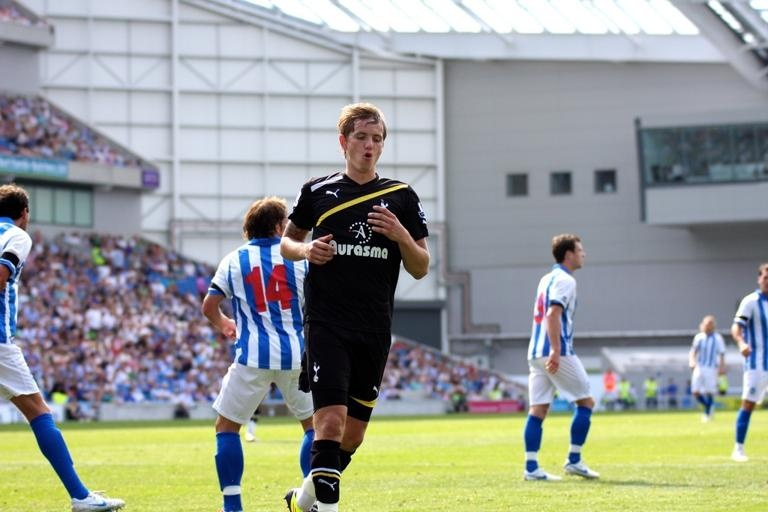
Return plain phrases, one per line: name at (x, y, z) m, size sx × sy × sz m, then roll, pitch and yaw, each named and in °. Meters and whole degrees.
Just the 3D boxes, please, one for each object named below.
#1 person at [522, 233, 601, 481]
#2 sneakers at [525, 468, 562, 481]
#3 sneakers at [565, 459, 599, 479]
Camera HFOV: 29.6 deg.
person at (2.446, 1.385, 20.264) m, size 0.952 × 3.376 × 0.795 m, roll 1°, pitch 2°, yaw 5°
sneakers at (2.180, 3.017, 20.045) m, size 0.507 × 0.206 × 0.186 m, roll -1°, pitch -3°, yaw 3°
sneakers at (2.711, 2.937, 20.235) m, size 0.521 × 0.226 × 0.192 m, roll 11°, pitch 2°, yaw 11°
